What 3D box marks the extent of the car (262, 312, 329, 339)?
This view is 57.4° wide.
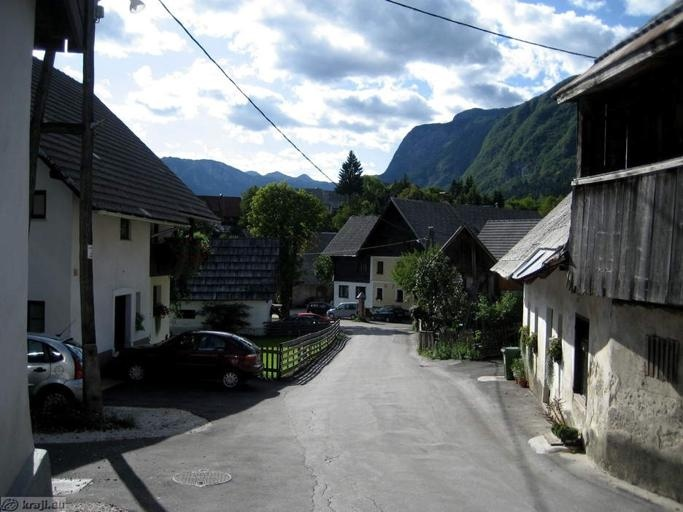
[{"bbox_3d":[-3.223,4.953,44.610,4.373,1.554,1.517,2,-2,-13],"label":"car"}]

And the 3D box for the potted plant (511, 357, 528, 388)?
[{"bbox_3d":[5.892,3.814,20.561,0.506,0.906,0.727,-4,-1,-6],"label":"potted plant"}]
